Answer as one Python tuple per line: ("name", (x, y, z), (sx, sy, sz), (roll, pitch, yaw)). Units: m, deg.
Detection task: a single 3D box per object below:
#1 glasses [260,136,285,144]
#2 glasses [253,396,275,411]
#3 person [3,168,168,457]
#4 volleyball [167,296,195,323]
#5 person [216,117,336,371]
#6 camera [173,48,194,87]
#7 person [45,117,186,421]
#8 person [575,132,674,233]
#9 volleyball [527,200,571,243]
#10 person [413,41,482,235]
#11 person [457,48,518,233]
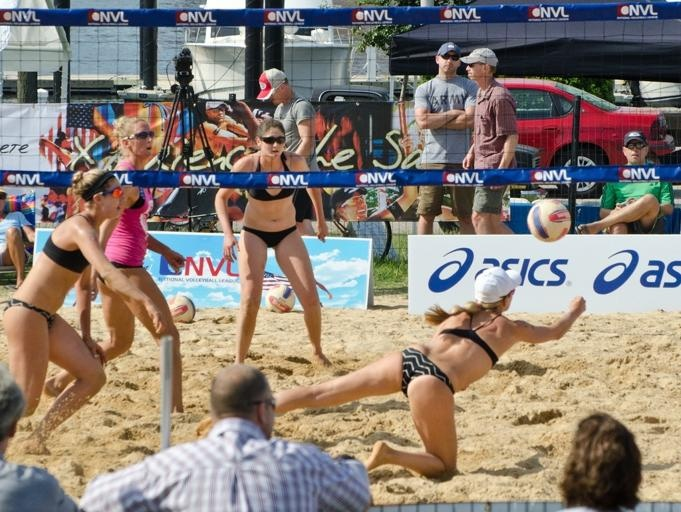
("glasses", (-0.615, -1.079, 10.556), (0.220, 0.072, 0.097), (-1, 11, -10))
("glasses", (-0.497, 0.979, 7.606), (0.093, 0.094, 0.075), (6, -2, -2))
("person", (-2.220, 0.459, 9.237), (0.799, 2.238, 1.539), (-2, 4, -33))
("volleyball", (-1.677, 0.560, 12.214), (0.218, 0.248, 0.294), (-4, 1, 5))
("person", (-0.583, -0.135, 10.688), (0.992, 2.328, 0.691), (-5, 13, -16))
("camera", (-1.917, -2.339, 14.147), (0.220, 0.444, 0.712), (-1, 11, -9))
("person", (-1.852, 0.035, 9.996), (1.214, 2.609, 0.899), (0, 2, 6))
("person", (3.283, -0.749, 12.850), (0.812, 1.572, 1.389), (1, 2, 31))
("volleyball", (2.035, -0.364, 11.231), (0.367, 0.411, 0.408), (3, 7, 3))
("person", (1.222, -1.177, 12.974), (0.702, 2.447, 0.610), (0, 7, 0))
("person", (1.656, -1.212, 12.585), (0.503, 2.068, 0.611), (3, 10, -11))
